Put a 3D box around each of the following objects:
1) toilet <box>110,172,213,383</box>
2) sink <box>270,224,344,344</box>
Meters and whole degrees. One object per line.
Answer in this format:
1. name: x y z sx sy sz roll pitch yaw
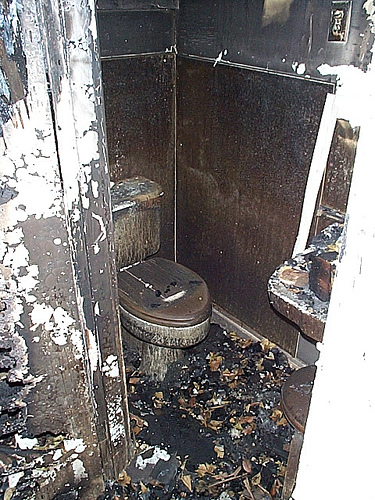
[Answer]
1. toilet: -0.144 0.065 2.149 0.450 0.758 0.604 -20 32 -40
2. sink: 0.394 0.081 1.429 0.204 0.324 0.444 10 25 18
